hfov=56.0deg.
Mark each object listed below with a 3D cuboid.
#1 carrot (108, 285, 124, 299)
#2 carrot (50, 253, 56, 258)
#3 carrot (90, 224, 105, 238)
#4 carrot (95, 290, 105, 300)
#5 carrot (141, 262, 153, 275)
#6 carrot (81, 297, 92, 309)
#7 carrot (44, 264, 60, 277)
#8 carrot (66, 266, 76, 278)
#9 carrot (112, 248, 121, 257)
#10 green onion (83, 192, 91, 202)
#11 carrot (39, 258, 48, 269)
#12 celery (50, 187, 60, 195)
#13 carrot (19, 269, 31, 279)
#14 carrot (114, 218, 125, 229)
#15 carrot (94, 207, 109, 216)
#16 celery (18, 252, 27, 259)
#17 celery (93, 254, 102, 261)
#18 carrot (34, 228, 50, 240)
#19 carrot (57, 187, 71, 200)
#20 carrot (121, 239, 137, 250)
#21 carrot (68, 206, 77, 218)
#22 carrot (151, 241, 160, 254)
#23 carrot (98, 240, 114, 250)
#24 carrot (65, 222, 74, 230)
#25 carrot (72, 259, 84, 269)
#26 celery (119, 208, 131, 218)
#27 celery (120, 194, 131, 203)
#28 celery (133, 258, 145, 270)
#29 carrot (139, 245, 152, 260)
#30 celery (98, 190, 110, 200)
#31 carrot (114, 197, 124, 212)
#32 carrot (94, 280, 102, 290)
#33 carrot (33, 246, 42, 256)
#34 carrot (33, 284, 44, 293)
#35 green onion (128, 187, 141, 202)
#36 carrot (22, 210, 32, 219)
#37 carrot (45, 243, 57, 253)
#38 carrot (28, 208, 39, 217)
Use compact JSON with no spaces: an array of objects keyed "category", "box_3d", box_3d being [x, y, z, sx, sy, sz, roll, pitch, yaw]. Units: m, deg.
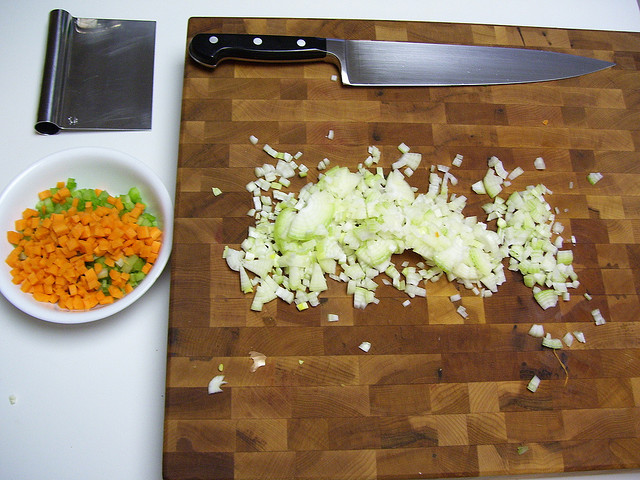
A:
[{"category":"carrot","box_3d":[-0.762,0.191,2.230,0.054,0.017,0.046,-5,69,-19]},{"category":"carrot","box_3d":[-0.984,0.049,2.203,0.020,0.006,0.018,-10,63,-11]},{"category":"carrot","box_3d":[-0.821,-0.041,2.197,0.053,0.018,0.046,-3,90,2]},{"category":"carrot","box_3d":[-0.816,0.203,2.216,0.024,0.030,0.029,-18,100,5]},{"category":"carrot","box_3d":[-0.649,0.102,2.242,0.037,0.036,0.040,42,67,16]},{"category":"carrot","box_3d":[-0.865,0.230,2.192,0.030,0.010,0.035,6,64,-16]},{"category":"carrot","box_3d":[-0.978,0.108,2.190,0.045,0.047,0.040,15,100,24]},{"category":"carrot","box_3d":[-0.912,0.115,2.192,0.034,0.030,0.031,-3,89,-31]},{"category":"carrot","box_3d":[-0.758,0.039,2.222,0.036,0.008,0.029,6,98,-11]},{"category":"green onion","box_3d":[-0.886,-0.174,2.277,0.038,0.009,0.031,8,91,-10]},{"category":"carrot","box_3d":[-1.007,0.086,2.195,0.010,0.030,0.029,-2,105,33]},{"category":"celery","box_3d":[-1.009,-0.197,2.278,0.020,0.009,0.024,2,48,-19]},{"category":"carrot","box_3d":[-1.082,0.121,2.186,0.033,0.009,0.029,18,88,2]},{"category":"carrot","box_3d":[-0.751,-0.071,2.235,0.028,0.016,0.048,-34,69,-21]},{"category":"carrot","box_3d":[-0.821,-0.114,2.242,0.038,0.035,0.033,9,87,-19]},{"category":"celery","box_3d":[-1.110,0.053,2.232,0.033,0.008,0.027,12,86,-5]},{"category":"celery","box_3d":[-0.827,0.058,2.218,0.021,0.018,0.005,2,41,-21]},{"category":"carrot","box_3d":[-1.034,-0.032,2.205,0.045,0.016,0.039,10,85,-12]},{"category":"carrot","box_3d":[-0.970,-0.187,2.269,0.055,0.041,0.043,-19,79,-28]},{"category":"carrot","box_3d":[-0.712,0.010,2.216,0.044,0.013,0.028,-30,100,-9]},{"category":"carrot","box_3d":[-0.918,-0.113,2.223,0.044,0.016,0.036,12,86,-6]},{"category":"carrot","box_3d":[-0.613,0.021,2.228,0.037,0.011,0.046,10,78,-12]},{"category":"carrot","box_3d":[-0.793,0.013,2.208,0.039,0.011,0.033,7,81,-12]},{"category":"carrot","box_3d":[-0.923,-0.058,2.207,0.027,0.007,0.024,39,63,14]},{"category":"carrot","box_3d":[-0.892,0.083,2.192,0.037,0.011,0.031,-1,80,3]},{"category":"celery","box_3d":[-0.746,-0.116,2.281,0.032,0.007,0.028,-5,46,-2]},{"category":"celery","box_3d":[-0.743,-0.168,2.282,0.031,0.029,0.027,-5,93,-39]},{"category":"celery","box_3d":[-0.683,0.087,2.249,0.032,0.014,0.042,13,90,-28]},{"category":"carrot","box_3d":[-0.651,0.040,2.221,0.051,0.014,0.042,6,101,11]},{"category":"celery","box_3d":[-0.835,-0.180,2.283,0.037,0.009,0.032,16,71,-6]},{"category":"carrot","box_3d":[-0.764,-0.146,2.273,0.047,0.014,0.043,-44,114,-35]},{"category":"carrot","box_3d":[-0.823,0.162,2.209,0.028,0.035,0.033,-11,70,-25]},{"category":"carrot","box_3d":[-1.042,0.036,2.203,0.044,0.010,0.035,10,89,-18]},{"category":"carrot","box_3d":[-1.031,0.176,2.197,0.034,0.021,0.028,-7,63,-9]},{"category":"green onion","box_3d":[-0.710,-0.185,2.290,0.042,0.049,0.048,16,52,3]},{"category":"carrot","box_3d":[-1.102,-0.105,2.250,0.032,0.010,0.031,40,87,-2]},{"category":"carrot","box_3d":[-0.993,0.022,2.201,0.042,0.038,0.028,6,65,5]},{"category":"carrot","box_3d":[-1.072,-0.112,2.252,0.042,0.027,0.021,20,85,1]}]
